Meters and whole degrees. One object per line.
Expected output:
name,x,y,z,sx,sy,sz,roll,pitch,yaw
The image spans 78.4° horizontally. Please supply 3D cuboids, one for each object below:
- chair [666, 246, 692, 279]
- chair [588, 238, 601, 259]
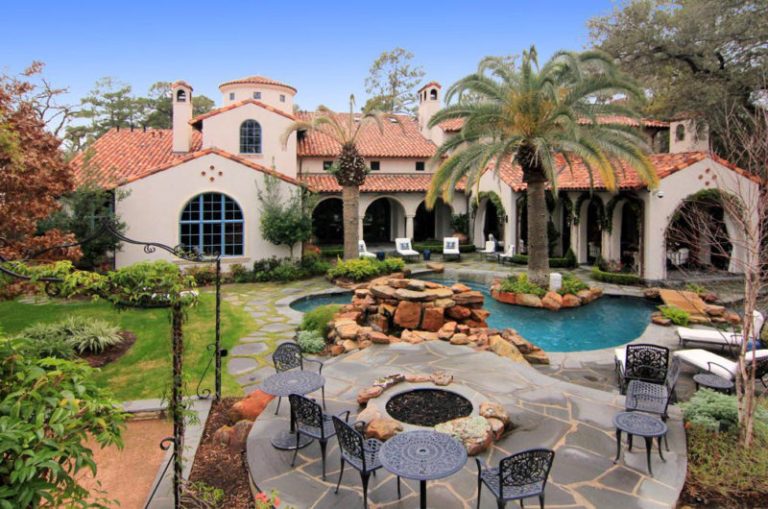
chair,13.994,0.353,22.633,1.508,1.558,1.906,-2,-3,37
chair,11.948,-0.354,26.955,0.729,1.166,1.256,0,-1,-12
